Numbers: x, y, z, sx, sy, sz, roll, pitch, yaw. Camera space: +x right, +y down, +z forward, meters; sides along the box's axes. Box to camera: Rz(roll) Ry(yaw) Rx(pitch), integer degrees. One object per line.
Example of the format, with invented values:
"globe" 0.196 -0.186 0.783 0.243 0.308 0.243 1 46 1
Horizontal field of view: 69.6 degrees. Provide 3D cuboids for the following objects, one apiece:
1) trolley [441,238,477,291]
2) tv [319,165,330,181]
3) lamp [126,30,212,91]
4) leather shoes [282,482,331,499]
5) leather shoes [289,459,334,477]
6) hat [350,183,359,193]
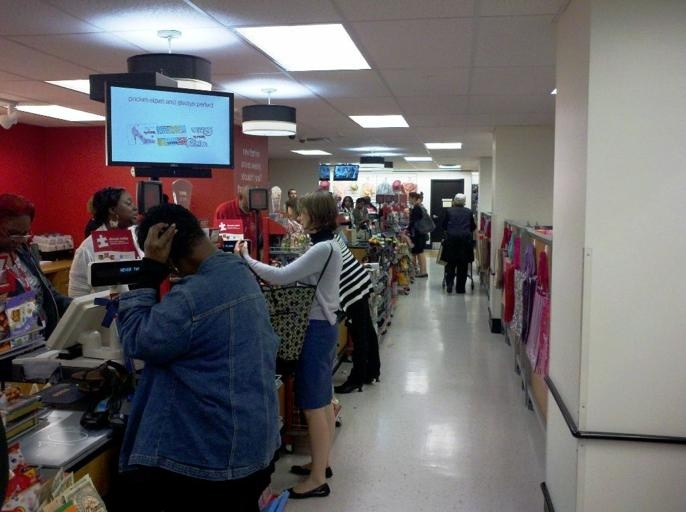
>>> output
"trolley" 2.445 0.066 10.507 0.682 1.327 0.768 2 -1 35
"tv" -0.655 -2.917 17.165 0.571 0.612 0.349 2 15 3
"lamp" -1.498 -1.496 4.258 0.557 0.518 0.582 -1 -4 0
"leather shoes" -0.261 1.626 3.458 0.318 0.100 0.121 6 -5 -4
"leather shoes" -0.223 1.598 3.687 0.343 0.145 0.131 6 -5 4
"hat" 0.507 -2.575 18.565 0.281 0.309 0.538 1 4 3
